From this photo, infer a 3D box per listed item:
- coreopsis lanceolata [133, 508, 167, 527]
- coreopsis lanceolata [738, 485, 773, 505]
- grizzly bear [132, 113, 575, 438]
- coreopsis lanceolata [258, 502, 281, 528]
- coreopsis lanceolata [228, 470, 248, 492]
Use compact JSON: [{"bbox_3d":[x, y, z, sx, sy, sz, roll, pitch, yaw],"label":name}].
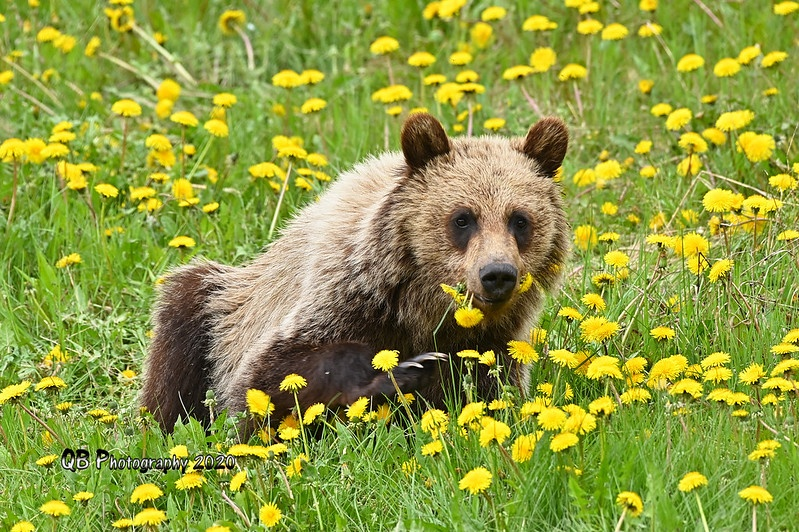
[{"bbox_3d":[-1.208,1.214,4.181,0.112,0.040,0.118,-3,-9,17],"label":"coreopsis lanceolata"},{"bbox_3d":[1.638,1.056,4.068,0.129,0.047,0.139,0,0,-12],"label":"coreopsis lanceolata"},{"bbox_3d":[-0.392,0.253,6.106,1.733,1.890,2.972,21,-39,-39],"label":"grizzly bear"},{"bbox_3d":[-0.628,1.230,4.274,0.114,0.154,0.183,1,10,-8],"label":"coreopsis lanceolata"},{"bbox_3d":[-0.791,1.054,4.260,0.106,0.110,0.032,-7,37,-47],"label":"coreopsis lanceolata"}]
